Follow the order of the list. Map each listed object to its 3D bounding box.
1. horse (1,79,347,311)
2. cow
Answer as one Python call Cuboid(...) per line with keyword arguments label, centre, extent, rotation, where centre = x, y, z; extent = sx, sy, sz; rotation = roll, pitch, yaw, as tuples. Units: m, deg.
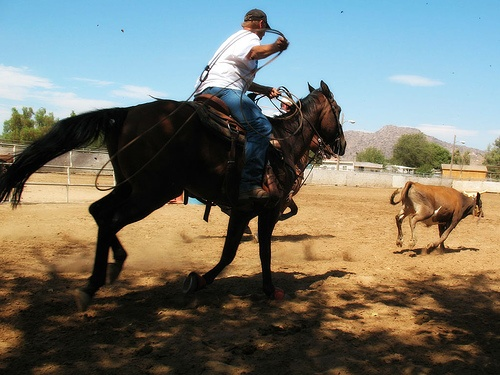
Cuboid(label="horse", centre=(-0.659, -0.011, 4.392), extent=(3.897, 2.736, 0.841), rotation=(2, 4, -24))
Cuboid(label="cow", centre=(4.996, 0.809, 9.910), extent=(3.116, 1.681, 0.725), rotation=(9, -6, -23))
